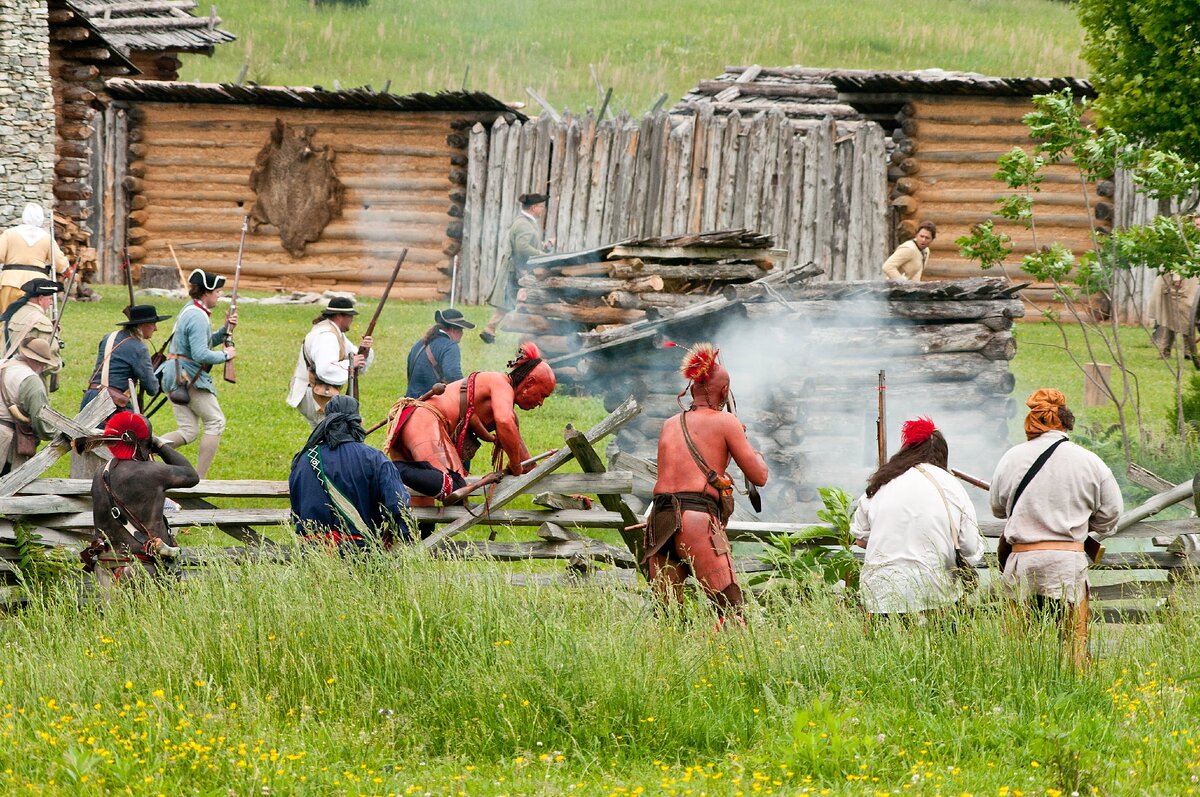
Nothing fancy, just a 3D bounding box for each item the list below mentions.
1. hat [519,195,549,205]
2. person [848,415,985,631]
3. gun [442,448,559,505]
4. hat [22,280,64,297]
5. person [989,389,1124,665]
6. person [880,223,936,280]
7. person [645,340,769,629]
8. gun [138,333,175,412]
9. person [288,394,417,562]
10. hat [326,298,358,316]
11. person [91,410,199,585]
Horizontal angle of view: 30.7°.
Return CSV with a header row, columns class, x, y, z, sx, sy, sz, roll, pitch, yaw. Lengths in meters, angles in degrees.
class,x,y,z,sx,sy,sz,roll,pitch,yaw
hat,-1.055,-3.175,34.674,0.373,0.201,0.885,-1,4,-4
person,3.621,1.352,25.197,1.432,2.239,0.631,0,5,5
gun,-1.197,0.943,26.727,1.434,0.314,0.181,-23,52,-18
hat,-7.409,-1.502,29.128,0.518,0.219,0.622,1,-1,-3
person,5.226,1.444,25.373,0.861,3.095,1.158,-5,6,-44
person,4.655,-2.272,33.265,0.729,0.851,0.717,0,4,1
person,1.191,0.937,25.569,1.290,3.129,0.769,-1,5,1
gun,-5.883,-0.348,29.128,0.273,1.476,0.259,21,43,-16
person,-2.975,0.846,25.891,1.312,1.736,0.431,-1,5,-6
hat,-3.424,-1.259,29.277,0.316,0.125,0.346,1,-4,18
person,-5.486,1.086,26.037,1.220,1.940,0.717,-2,5,-12
